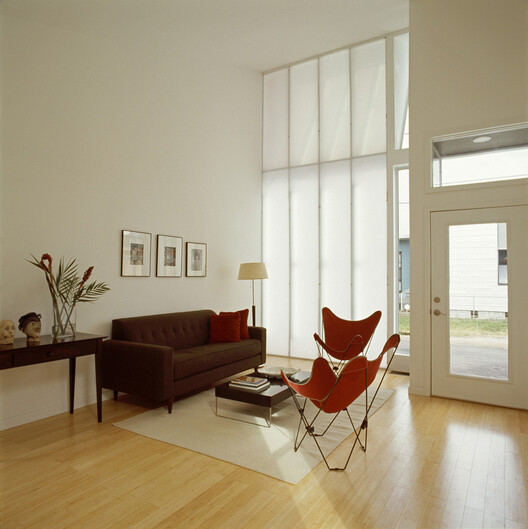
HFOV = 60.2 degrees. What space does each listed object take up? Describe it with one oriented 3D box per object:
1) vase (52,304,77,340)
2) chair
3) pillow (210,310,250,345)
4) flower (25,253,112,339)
[{"bbox_3d":[-1.785,0.507,4.068,0.177,0.345,0.185,-5,-8,1],"label":"vase"},{"bbox_3d":[0.640,0.969,3.852,0.905,1.579,1.122,1,-4,20],"label":"chair"},{"bbox_3d":[-0.428,0.795,5.625,0.339,0.427,0.116,4,-14,-19],"label":"pillow"},{"bbox_3d":[-1.792,0.292,4.222,0.574,0.702,0.584,-1,-3,44],"label":"flower"}]
